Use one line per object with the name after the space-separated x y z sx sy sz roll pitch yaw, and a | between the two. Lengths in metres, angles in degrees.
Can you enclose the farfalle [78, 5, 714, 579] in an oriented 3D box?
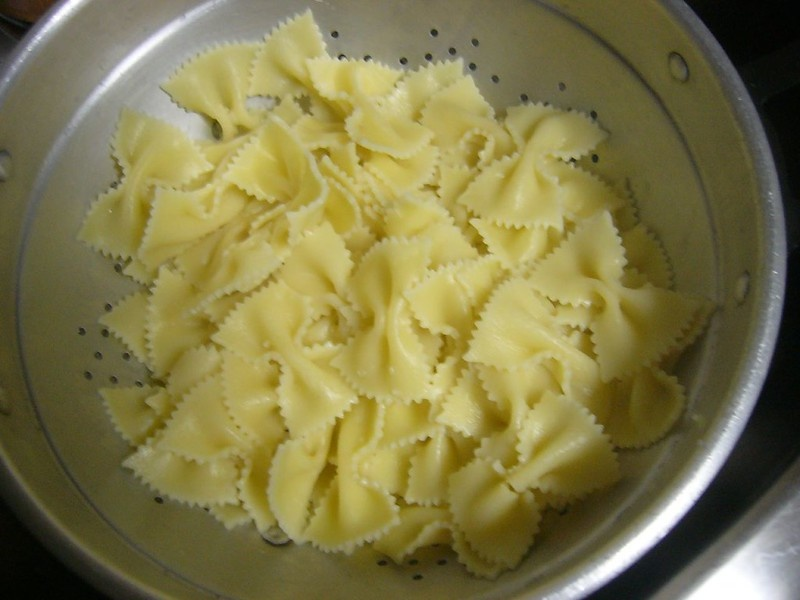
-0.066 0.050 2.551 1.555 0.196 1.405 27 82 7 | farfalle
